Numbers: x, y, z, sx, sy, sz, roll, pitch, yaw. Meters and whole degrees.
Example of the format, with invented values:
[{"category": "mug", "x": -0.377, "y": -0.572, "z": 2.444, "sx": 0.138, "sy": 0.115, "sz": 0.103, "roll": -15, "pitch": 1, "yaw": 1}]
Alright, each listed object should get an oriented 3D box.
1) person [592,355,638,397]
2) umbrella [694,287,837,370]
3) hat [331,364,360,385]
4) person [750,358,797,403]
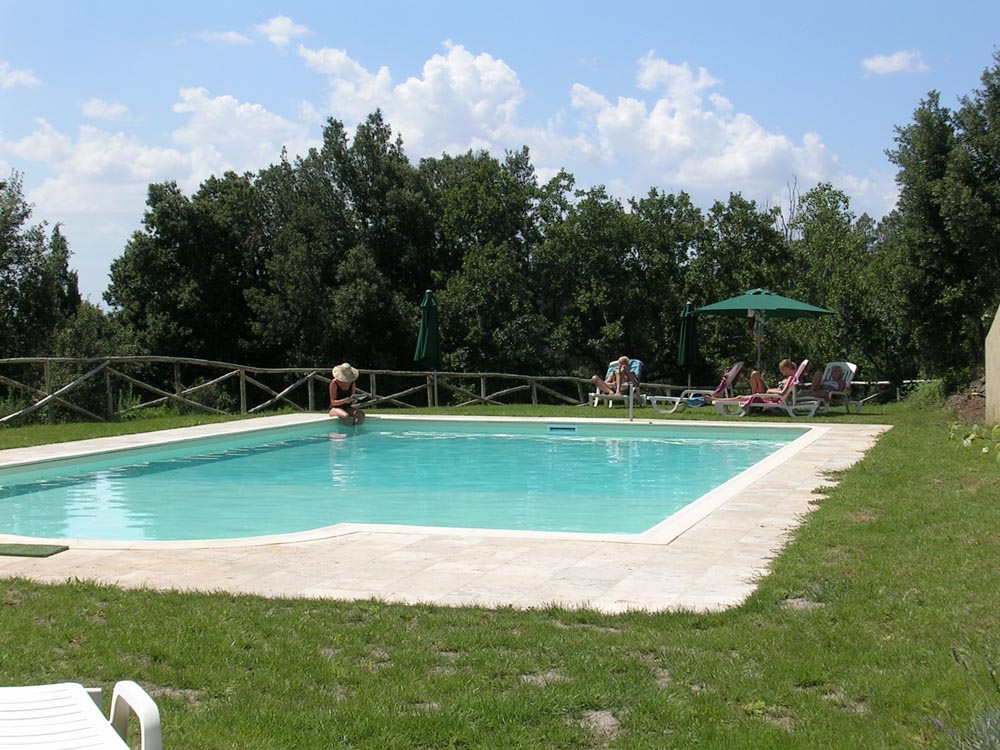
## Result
[{"category": "person", "x": 2.885, "y": 0.033, "z": 23.316, "sx": 0.850, "sy": 0.675, "sz": 1.174, "roll": -9, "pitch": -9, "yaw": 33}, {"category": "umbrella", "x": 6.334, "y": -1.225, "z": 22.602, "sx": 2.479, "sy": 1.652, "sz": 2.945, "roll": 0, "pitch": 4, "yaw": 19}, {"category": "hat", "x": -3.317, "y": -0.025, "z": 20.194, "sx": 0.456, "sy": 0.456, "sz": 1.100, "roll": -2, "pitch": 4, "yaw": -10}, {"category": "person", "x": 5.880, "y": 0.098, "z": 20.253, "sx": 0.988, "sy": 0.837, "sz": 1.296, "roll": 0, "pitch": 4, "yaw": 19}]
